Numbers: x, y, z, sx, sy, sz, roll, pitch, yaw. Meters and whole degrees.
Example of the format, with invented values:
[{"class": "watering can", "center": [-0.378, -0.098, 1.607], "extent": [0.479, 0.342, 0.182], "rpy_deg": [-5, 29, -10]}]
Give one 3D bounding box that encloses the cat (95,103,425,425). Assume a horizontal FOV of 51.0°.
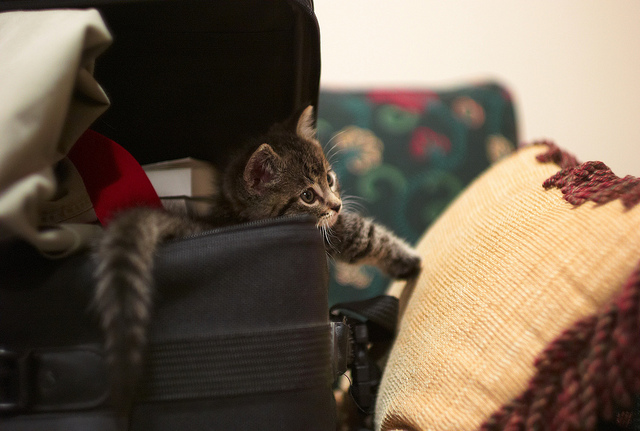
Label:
[{"class": "cat", "center": [-0.140, -0.011, 1.623], "extent": [0.301, 0.548, 1.051], "rpy_deg": [0, 25, 47]}]
